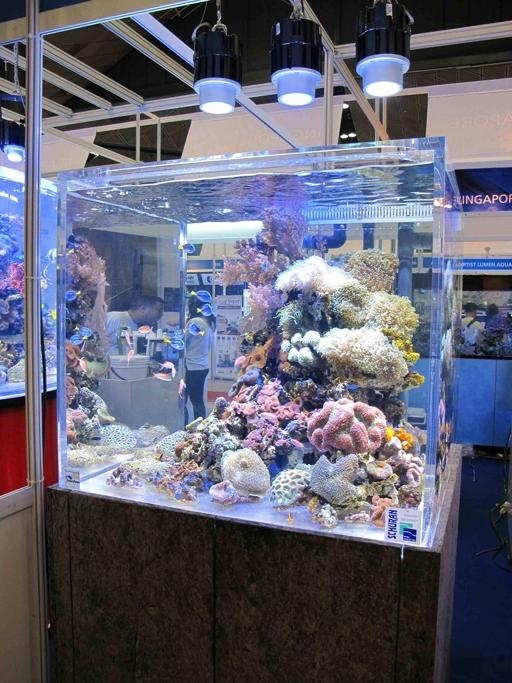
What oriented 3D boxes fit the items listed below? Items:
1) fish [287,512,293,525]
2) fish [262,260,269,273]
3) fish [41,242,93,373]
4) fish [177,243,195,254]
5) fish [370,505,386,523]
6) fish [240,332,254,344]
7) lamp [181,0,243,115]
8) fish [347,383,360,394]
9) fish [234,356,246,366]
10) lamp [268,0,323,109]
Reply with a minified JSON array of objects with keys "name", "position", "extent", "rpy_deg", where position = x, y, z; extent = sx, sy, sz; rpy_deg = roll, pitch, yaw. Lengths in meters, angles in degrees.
[{"name":"fish","position":[0.096,0.500,1.799],"extent":[0.016,0.027,0.016],"rpy_deg":[-1,-7,11]},{"name":"fish","position":[0.032,-0.252,2.134],"extent":[0.025,0.032,0.008],"rpy_deg":[-2,11,-11]},{"name":"fish","position":[-0.610,-0.112,2.209],"extent":[0.174,0.516,0.057],"rpy_deg":[-2,7,-40]},{"name":"fish","position":[-0.242,-0.322,2.213],"extent":[0.067,0.039,0.011],"rpy_deg":[5,6,31]},{"name":"fish","position":[0.336,0.472,1.749],"extent":[0.020,0.051,0.038],"rpy_deg":[13,-13,-37]},{"name":"fish","position":[-0.030,-0.013,2.167],"extent":[0.040,0.028,0.037],"rpy_deg":[-4,-4,27]},{"name":"lamp","position":[-0.139,-0.990,2.251],"extent":[0.171,0.324,0.207],"rpy_deg":[2,5,-6]},{"name":"fish","position":[0.301,0.151,1.952],"extent":[0.014,0.044,0.046],"rpy_deg":[-2,7,-44]},{"name":"fish","position":[-0.053,0.067,2.172],"extent":[0.043,0.039,0.007],"rpy_deg":[-2,7,-41]},{"name":"lamp","position":[0.144,-1.023,2.262],"extent":[0.188,0.337,0.259],"rpy_deg":[3,5,2]}]
